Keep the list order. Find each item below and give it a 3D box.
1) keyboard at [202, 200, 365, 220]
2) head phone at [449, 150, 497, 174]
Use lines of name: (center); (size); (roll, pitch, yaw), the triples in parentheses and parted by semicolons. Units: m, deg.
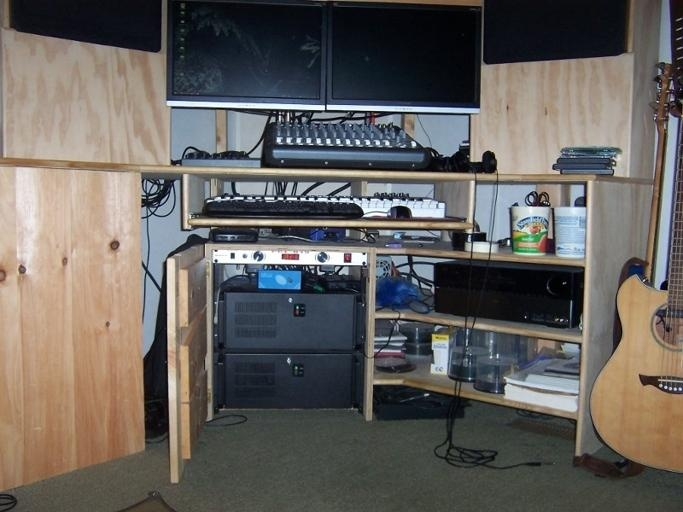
keyboard: (-0.229, -0.173, 2.547); (0.602, 0.076, 0.110); (0, 11, 0)
head phone: (0.521, -0.371, 2.729); (0.164, 0.093, 0.103); (5, 13, 20)
